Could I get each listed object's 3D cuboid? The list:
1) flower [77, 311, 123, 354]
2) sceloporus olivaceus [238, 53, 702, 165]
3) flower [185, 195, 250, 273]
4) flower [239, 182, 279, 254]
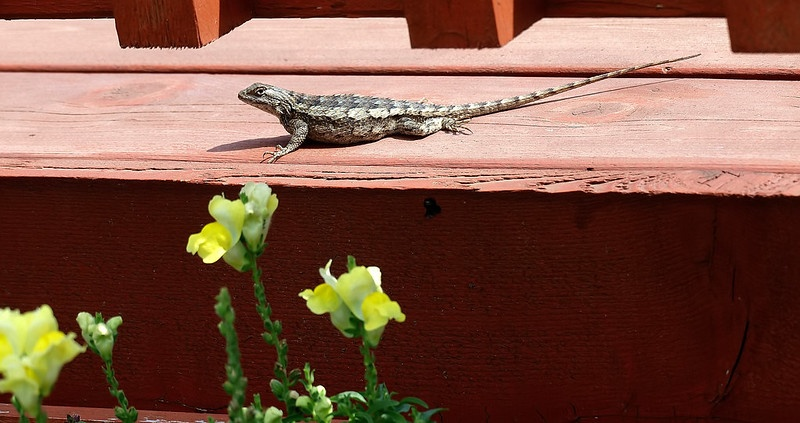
[{"bbox_3d":[-1.014,0.436,2.788,0.215,0.147,0.173,7,-18,-10],"label":"flower"},{"bbox_3d":[0.401,-0.459,4.003,2.277,0.218,0.569,-5,18,3],"label":"sceloporus olivaceus"},{"bbox_3d":[-0.613,0.074,2.643,0.195,0.251,0.105,1,2,-12],"label":"flower"},{"bbox_3d":[-0.482,0.021,2.660,0.120,0.236,0.091,1,2,-9],"label":"flower"}]
